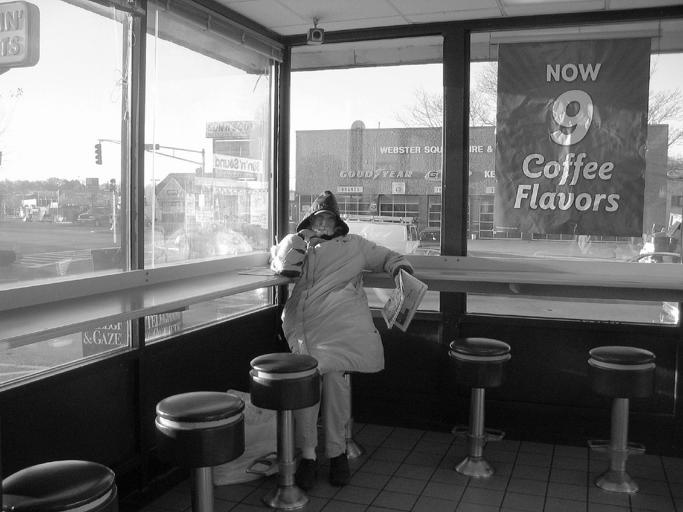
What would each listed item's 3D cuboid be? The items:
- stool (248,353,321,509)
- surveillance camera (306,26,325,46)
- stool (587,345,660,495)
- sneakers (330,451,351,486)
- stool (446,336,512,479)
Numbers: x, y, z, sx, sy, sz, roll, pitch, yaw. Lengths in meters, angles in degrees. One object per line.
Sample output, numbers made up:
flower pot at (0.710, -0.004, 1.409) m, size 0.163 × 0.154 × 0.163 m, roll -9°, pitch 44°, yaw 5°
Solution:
stool at (-0.323, 1.025, 3.223) m, size 0.381 × 0.941 × 0.417 m, roll -1°, pitch 5°, yaw -14°
surveillance camera at (-0.186, -1.635, 4.272) m, size 0.139 × 0.152 × 0.144 m, roll -2°, pitch 15°, yaw -17°
stool at (1.742, 1.009, 3.568) m, size 0.353 × 0.874 × 0.434 m, roll 2°, pitch 5°, yaw 30°
sneakers at (-0.011, 1.351, 3.624) m, size 0.063 × 0.146 × 0.192 m, roll 2°, pitch 0°, yaw -16°
stool at (0.931, 0.982, 3.913) m, size 0.375 × 0.879 × 0.620 m, roll 1°, pitch 5°, yaw 11°
